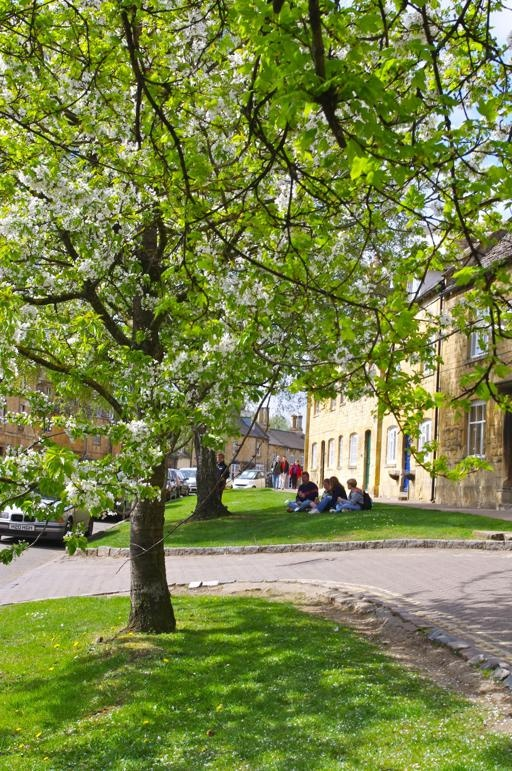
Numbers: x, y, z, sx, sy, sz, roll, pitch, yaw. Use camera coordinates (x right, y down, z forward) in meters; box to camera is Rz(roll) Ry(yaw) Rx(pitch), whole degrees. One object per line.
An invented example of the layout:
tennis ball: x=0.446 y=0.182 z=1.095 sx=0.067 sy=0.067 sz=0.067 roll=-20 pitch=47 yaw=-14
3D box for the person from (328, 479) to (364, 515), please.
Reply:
person: x=2.633 y=3.279 z=20.064 sx=1.080 sy=1.054 sz=0.851 roll=2 pitch=-15 yaw=4

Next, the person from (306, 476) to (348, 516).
person: x=2.237 y=3.350 z=20.770 sx=1.245 sy=1.123 sz=0.777 roll=3 pitch=-10 yaw=-9
